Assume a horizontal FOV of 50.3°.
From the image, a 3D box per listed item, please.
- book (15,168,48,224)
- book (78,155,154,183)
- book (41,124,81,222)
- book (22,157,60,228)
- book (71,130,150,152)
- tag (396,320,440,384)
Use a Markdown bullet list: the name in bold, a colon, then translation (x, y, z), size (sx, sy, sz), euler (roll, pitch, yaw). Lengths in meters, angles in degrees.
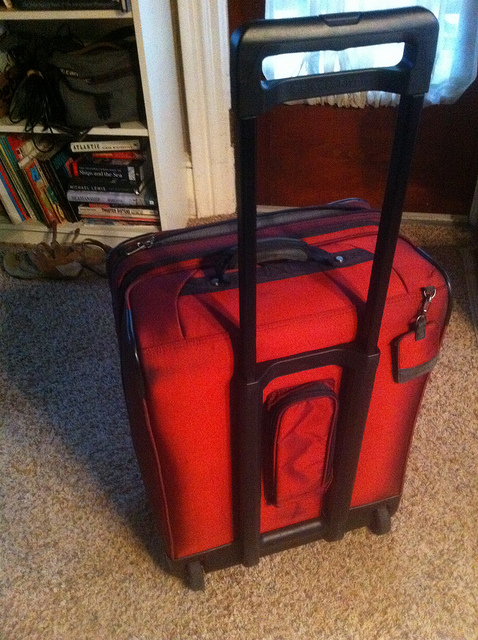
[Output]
- **book**: translation (-0.744, -0.445, 1.859), size (0.123, 0.135, 0.034), euler (15, 38, 24)
- **book**: translation (-0.431, -0.526, 1.781), size (0.247, 0.082, 0.113), euler (-8, 44, -2)
- **book**: translation (-0.578, -0.496, 1.802), size (0.047, 0.225, 0.212), euler (12, 34, 20)
- **book**: translation (-0.704, -0.468, 1.862), size (0.047, 0.208, 0.193), euler (-23, 44, -17)
- **book**: translation (-0.447, -0.599, 1.725), size (0.138, 0.036, 0.142), euler (-15, 35, -19)
- **tag**: translation (0.245, 0.041, 0.704), size (0.070, 0.099, 0.017), euler (-21, 33, -17)
